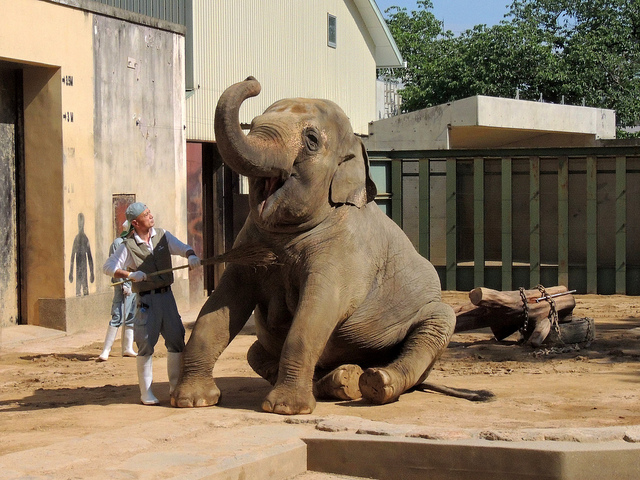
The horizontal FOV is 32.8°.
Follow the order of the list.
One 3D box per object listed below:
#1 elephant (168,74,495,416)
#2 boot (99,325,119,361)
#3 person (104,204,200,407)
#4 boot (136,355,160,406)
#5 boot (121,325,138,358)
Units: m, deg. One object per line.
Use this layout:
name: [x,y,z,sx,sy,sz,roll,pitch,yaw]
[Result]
elephant: [0.199,0.110,14.278,2.768,5.271,2.919,1,7,9]
boot: [-3.341,1.616,17.262,0.293,0.518,0.519,-1,6,-4]
person: [-2.072,0.833,14.097,1.071,2.634,0.861,-9,8,-31]
boot: [-2.180,1.788,13.882,0.244,0.587,0.475,-3,6,-19]
boot: [-3.006,1.613,17.196,0.199,0.580,0.389,-2,6,-9]
